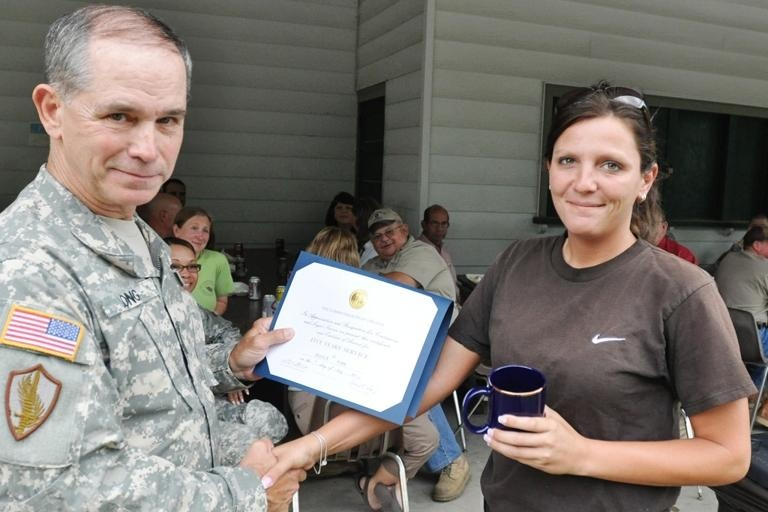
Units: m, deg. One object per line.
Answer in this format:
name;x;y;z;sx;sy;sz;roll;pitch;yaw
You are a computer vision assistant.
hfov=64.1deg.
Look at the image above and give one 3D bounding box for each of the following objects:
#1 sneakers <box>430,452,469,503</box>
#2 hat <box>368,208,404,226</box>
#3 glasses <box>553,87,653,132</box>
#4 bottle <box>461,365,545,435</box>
sneakers;0.383;1.259;3.504;0.120;0.132;0.312;-8;7;32
hat;0.013;-0.261;4.222;0.150;0.096;0.198;-19;-23;11
glasses;0.561;-0.371;1.580;0.190;0.170;0.054;1;13;10
bottle;0.306;0.361;1.600;0.237;0.169;0.136;-9;19;-9
